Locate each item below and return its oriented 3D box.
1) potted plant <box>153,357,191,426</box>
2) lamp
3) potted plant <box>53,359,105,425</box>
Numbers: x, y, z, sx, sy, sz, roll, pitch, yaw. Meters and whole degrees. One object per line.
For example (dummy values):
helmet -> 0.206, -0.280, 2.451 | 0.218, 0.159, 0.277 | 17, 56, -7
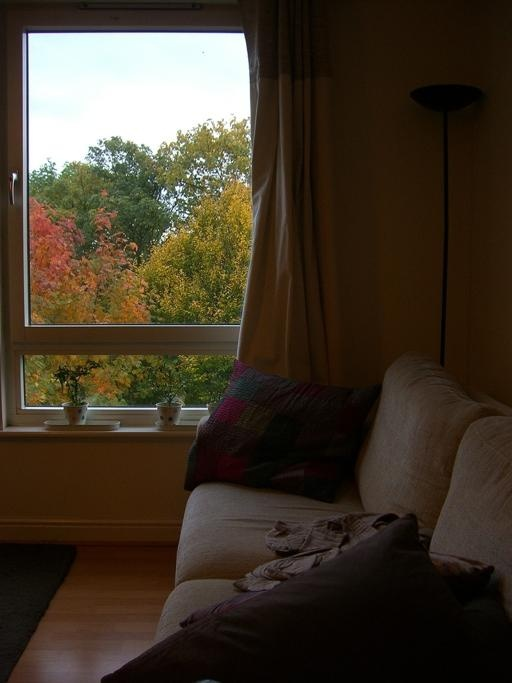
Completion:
potted plant -> -0.372, 0.235, 2.828 | 0.110, 0.267, 0.108 | 2, 1, 25
lamp -> 0.684, -0.424, 2.370 | 0.243, 1.051, 0.427 | 3, 4, 19
potted plant -> -0.775, 0.213, 2.771 | 0.205, 0.265, 0.154 | 2, 4, -5
